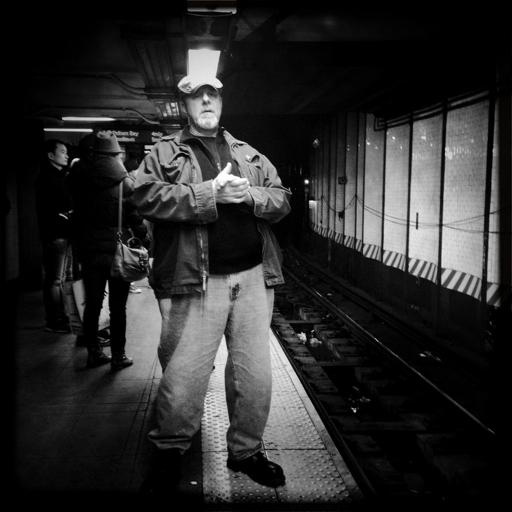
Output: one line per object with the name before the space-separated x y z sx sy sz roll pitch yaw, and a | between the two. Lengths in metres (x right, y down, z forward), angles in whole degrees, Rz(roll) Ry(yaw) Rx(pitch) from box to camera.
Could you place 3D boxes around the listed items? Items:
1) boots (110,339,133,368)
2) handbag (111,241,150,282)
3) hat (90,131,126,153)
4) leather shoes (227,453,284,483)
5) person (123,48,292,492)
boots | -1.198 0.933 4.235 0.114 0.259 0.251 2 6 10
handbag | -1.069 0.049 3.844 0.296 0.341 0.164 7 6 -18
hat | -1.338 -1.020 4.163 0.205 0.158 0.286 5 7 -3
leather shoes | 0.000 1.097 2.334 0.236 0.114 0.127 3 14 26
person | -0.218 0.095 2.382 0.771 2.136 0.499 -1 3 -1
